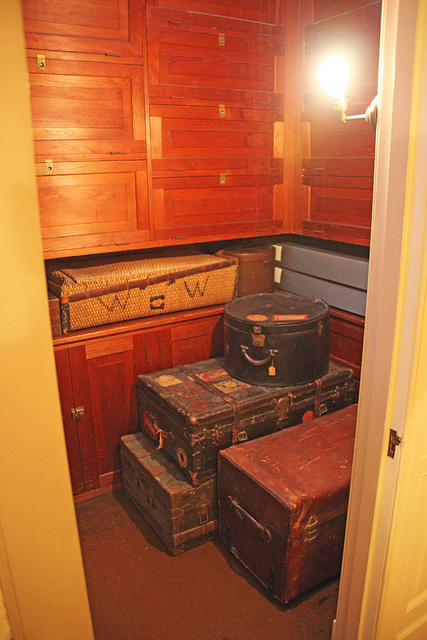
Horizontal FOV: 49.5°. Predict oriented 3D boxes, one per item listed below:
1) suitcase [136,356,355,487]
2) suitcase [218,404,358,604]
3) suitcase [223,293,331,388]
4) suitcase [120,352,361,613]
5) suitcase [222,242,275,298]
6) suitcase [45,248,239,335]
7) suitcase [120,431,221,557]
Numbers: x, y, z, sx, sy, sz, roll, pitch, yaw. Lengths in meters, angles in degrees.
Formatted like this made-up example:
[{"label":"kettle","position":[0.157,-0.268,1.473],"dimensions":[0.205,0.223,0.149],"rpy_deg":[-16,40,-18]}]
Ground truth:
[{"label":"suitcase","position":[0.178,0.493,2.663],"dimensions":[1.117,0.421,0.733],"rpy_deg":[-9,14,-35]},{"label":"suitcase","position":[0.383,0.844,2.131],"dimensions":[0.595,0.557,0.537],"rpy_deg":[-8,15,-27]},{"label":"suitcase","position":[0.329,0.098,2.542],"dimensions":[0.516,0.375,0.539],"rpy_deg":[-10,19,-23]},{"label":"suitcase","position":[0.103,0.657,2.204],"dimensions":[0.989,0.563,1.024],"rpy_deg":[-12,29,-31]},{"label":"suitcase","position":[0.285,-0.331,3.138],"dimensions":[0.272,0.333,0.315],"rpy_deg":[0,14,17]},{"label":"suitcase","position":[-0.407,-0.196,2.773],"dimensions":[1.123,0.330,0.363],"rpy_deg":[-10,16,-30]},{"label":"suitcase","position":[-0.226,0.856,2.289],"dimensions":[0.396,0.311,0.532],"rpy_deg":[-8,22,-32]}]
